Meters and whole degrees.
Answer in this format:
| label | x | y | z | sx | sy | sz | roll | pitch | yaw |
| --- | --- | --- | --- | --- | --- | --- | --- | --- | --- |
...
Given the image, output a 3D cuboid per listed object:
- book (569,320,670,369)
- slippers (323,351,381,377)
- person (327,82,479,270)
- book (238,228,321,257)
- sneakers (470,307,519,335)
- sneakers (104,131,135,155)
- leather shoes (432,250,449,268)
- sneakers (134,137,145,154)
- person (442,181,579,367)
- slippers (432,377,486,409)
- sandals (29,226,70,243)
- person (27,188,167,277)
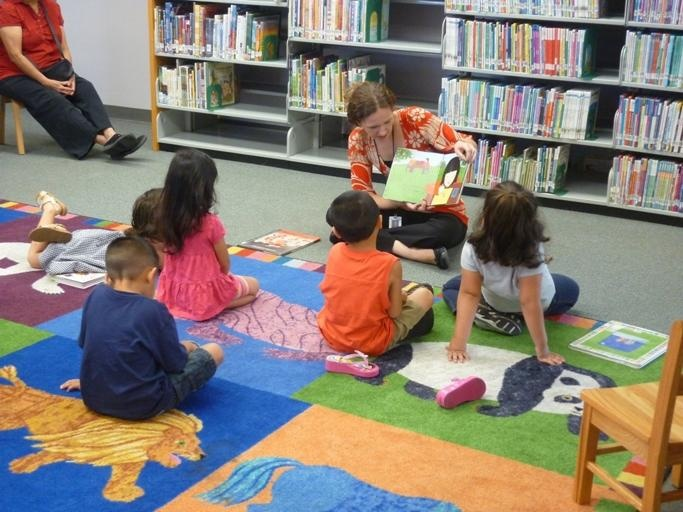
| label | x | y | z | sx | sy | sz | roll | pitch | yaw |
| --- | --- | --- | --- | --- | --- | --- | --- | --- | --- |
| book | 1.206 | 0.379 | 2.370 | 0.336 | 0.032 | 0.355 | 11 | 22 | 37 |
| slippers | 0.048 | 0.414 | 2.173 | 0.192 | 0.063 | 0.095 | 4 | 15 | 20 |
| person | 0.413 | -0.536 | 3.271 | 0.890 | 0.949 | 0.822 | 18 | 38 | 39 |
| book | -0.382 | -0.072 | 3.381 | 0.275 | 0.033 | 0.375 | 16 | 25 | 34 |
| sneakers | 0.694 | 0.298 | 2.458 | 0.180 | 0.053 | 0.130 | 7 | 17 | 5 |
| sneakers | -1.959 | -0.946 | 4.780 | 0.329 | 0.130 | 0.143 | -25 | -24 | 29 |
| leather shoes | 0.572 | 0.023 | 3.085 | 0.065 | 0.125 | 0.050 | -3 | 54 | 12 |
| sneakers | -1.817 | -1.011 | 4.968 | 0.100 | 0.154 | 0.439 | -3 | 16 | -19 |
| person | 0.707 | 0.060 | 2.223 | 0.644 | 0.545 | 0.798 | -4 | 23 | 6 |
| slippers | 0.435 | 0.489 | 2.014 | 0.247 | 0.068 | 0.101 | -12 | 8 | -27 |
| sandals | -1.516 | -0.106 | 2.888 | 0.190 | 0.090 | 0.063 | 2 | 50 | -13 |
| person | -1.280 | -0.119 | 2.975 | 1.069 | 0.369 | 0.426 | -3 | 16 | 12 |
